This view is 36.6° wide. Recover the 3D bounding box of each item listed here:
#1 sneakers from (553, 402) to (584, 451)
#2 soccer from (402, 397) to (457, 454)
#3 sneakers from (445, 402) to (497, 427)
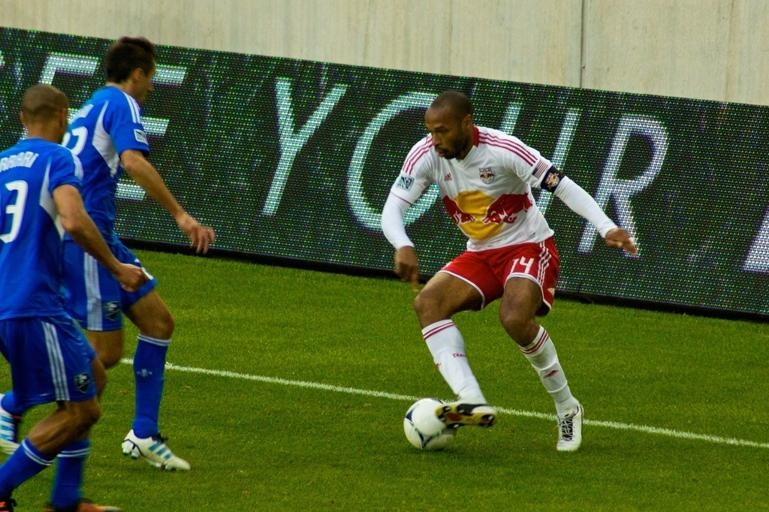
[{"bbox_3d":[1.462,1.313,9.020,0.220,0.375,0.216,9,10,4],"label":"sneakers"},{"bbox_3d":[0.357,1.300,8.825,0.404,0.379,0.370,16,-14,9],"label":"soccer"},{"bbox_3d":[0.639,1.180,8.620,0.384,0.180,0.183,8,22,11],"label":"sneakers"}]
